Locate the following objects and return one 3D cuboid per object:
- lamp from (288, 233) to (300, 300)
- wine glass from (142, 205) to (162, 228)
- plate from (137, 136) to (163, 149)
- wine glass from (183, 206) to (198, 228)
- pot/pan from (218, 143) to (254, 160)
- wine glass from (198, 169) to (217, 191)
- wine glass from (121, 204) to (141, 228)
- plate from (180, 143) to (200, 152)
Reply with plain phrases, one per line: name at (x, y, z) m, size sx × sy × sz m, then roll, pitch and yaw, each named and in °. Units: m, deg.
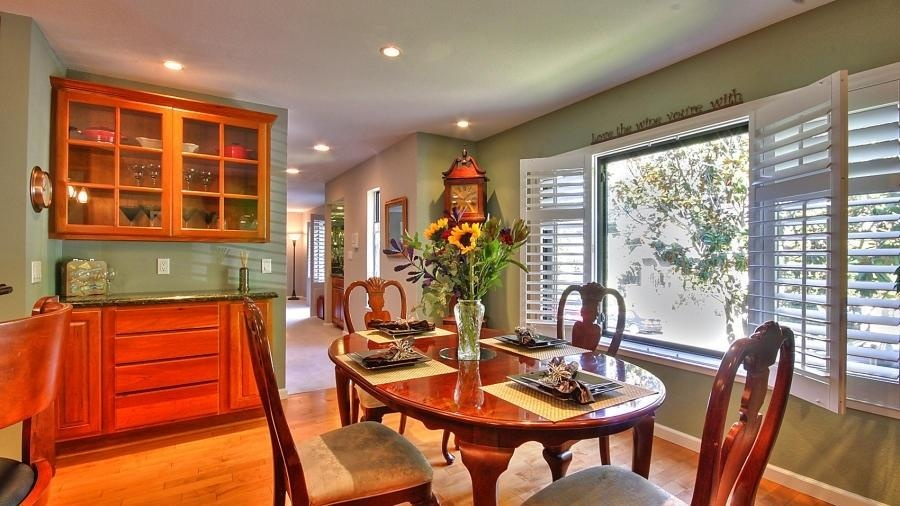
lamp at (-4.064, 0.344, 13.844) m, size 0.261 × 1.666 × 0.591 m, roll -3°, pitch 0°, yaw -16°
wine glass at (-2.915, -0.370, 5.231) m, size 0.212 × 0.212 × 0.192 m, roll 0°, pitch 1°, yaw 5°
plate at (-2.965, -1.080, 5.233) m, size 0.174 × 0.064 × 0.122 m, roll -2°, pitch 5°, yaw -24°
wine glass at (-2.628, -0.355, 5.363) m, size 0.182 × 0.188 × 0.176 m, roll -6°, pitch -8°, yaw 43°
pot/pan at (-2.204, -1.053, 5.523) m, size 0.152 × 0.104 × 0.256 m, roll -3°, pitch -4°, yaw 42°
wine glass at (-2.460, -0.742, 5.427) m, size 0.224 × 0.233 × 0.212 m, roll 0°, pitch 3°, yaw -20°
wine glass at (-3.098, -0.380, 5.175) m, size 0.174 × 0.186 × 0.174 m, roll -3°, pitch -4°, yaw 44°
plate at (-2.619, -1.062, 5.342) m, size 0.126 × 0.067 × 0.119 m, roll -2°, pitch -3°, yaw 15°
